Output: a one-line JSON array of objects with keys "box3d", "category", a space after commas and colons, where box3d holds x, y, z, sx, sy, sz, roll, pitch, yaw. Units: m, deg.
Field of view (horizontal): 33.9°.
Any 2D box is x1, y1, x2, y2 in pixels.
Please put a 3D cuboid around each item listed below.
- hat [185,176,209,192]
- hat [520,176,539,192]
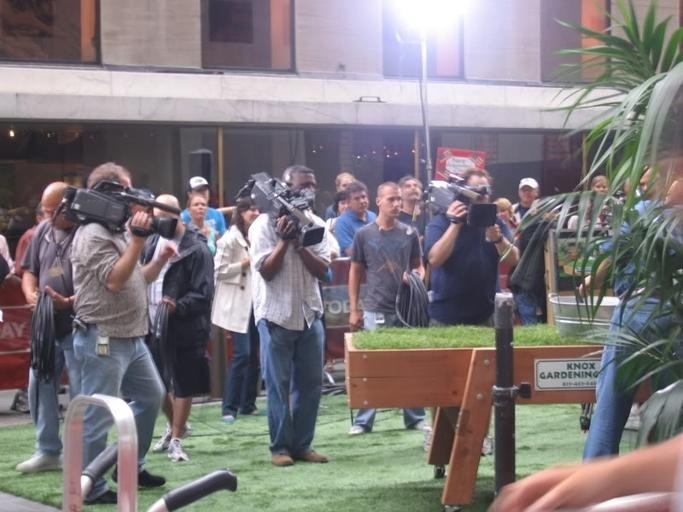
[{"box3d": [-1.530, -0.743, 11.844, 0.227, 0.161, 0.317, -4, 0, -28], "category": "hat"}, {"box3d": [2.267, -0.878, 13.440, 0.222, 0.165, 0.345, 0, -8, 17], "category": "hat"}]
